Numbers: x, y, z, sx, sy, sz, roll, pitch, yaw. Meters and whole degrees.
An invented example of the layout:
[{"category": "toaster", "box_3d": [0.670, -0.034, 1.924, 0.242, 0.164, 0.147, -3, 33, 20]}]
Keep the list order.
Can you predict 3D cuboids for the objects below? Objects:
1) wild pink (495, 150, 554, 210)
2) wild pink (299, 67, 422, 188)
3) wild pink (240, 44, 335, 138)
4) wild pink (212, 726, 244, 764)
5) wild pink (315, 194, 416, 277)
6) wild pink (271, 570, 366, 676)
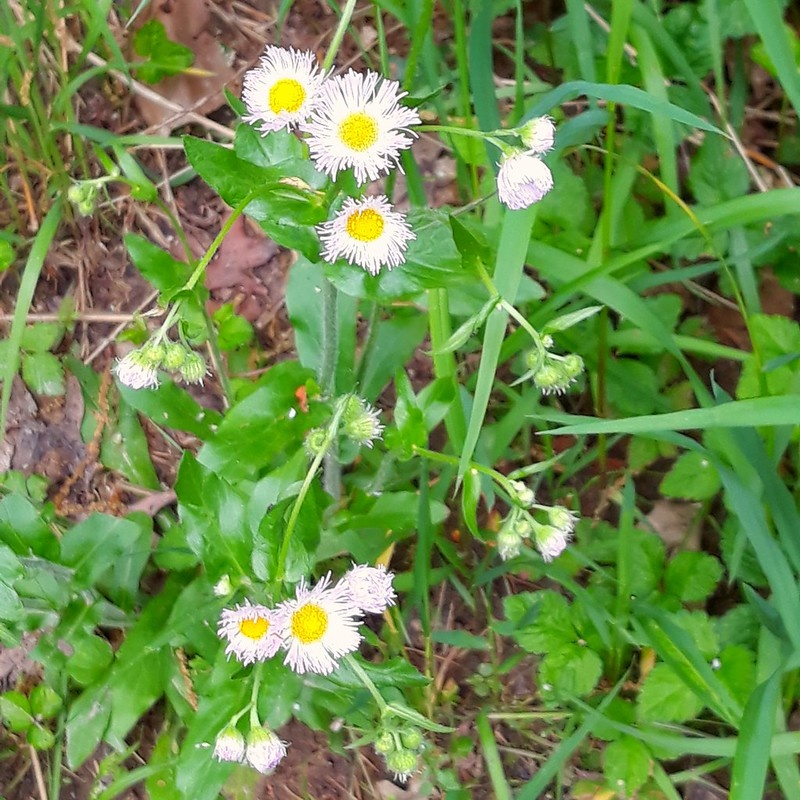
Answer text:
[{"category": "wild pink", "box_3d": [0.180, -0.311, 1.215, 0.059, 0.030, 0.097, 6, 95, 0]}, {"category": "wild pink", "box_3d": [-0.059, -0.422, 1.211, 0.170, 0.163, 0.075, -23, 112, -35]}, {"category": "wild pink", "box_3d": [-0.174, -0.476, 1.257, 0.101, 0.141, 0.056, -11, 68, -9]}, {"category": "wild pink", "box_3d": [-0.286, 0.567, 1.355, 0.044, 0.061, 0.062, -4, 113, -24]}, {"category": "wild pink", "box_3d": [-0.055, -0.267, 1.271, 0.106, 0.105, 0.049, -1, 59, -37]}, {"category": "wild pink", "box_3d": [-0.146, 0.324, 1.269, 0.134, 0.133, 0.068, -19, 107, -43]}]
